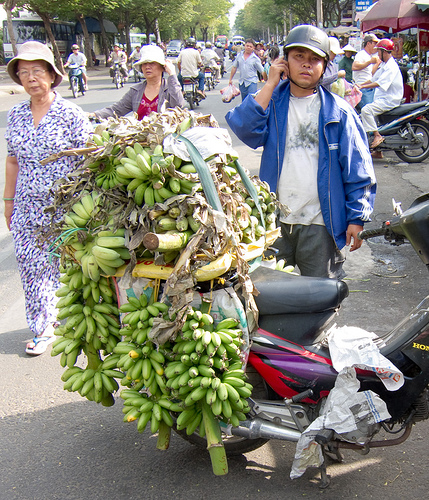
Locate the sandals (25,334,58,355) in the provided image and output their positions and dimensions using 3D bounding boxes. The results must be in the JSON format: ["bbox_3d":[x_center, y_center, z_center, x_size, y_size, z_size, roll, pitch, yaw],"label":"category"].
[{"bbox_3d":[-1.338,0.727,3.450,0.118,0.092,0.274,0,4,15],"label":"sandals"}]

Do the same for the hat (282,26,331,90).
[{"bbox_3d":[0.499,-1.094,2.429,0.215,0.234,0.235,5,18,3],"label":"hat"}]

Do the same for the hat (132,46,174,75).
[{"bbox_3d":[-0.569,-1.783,4.199,0.343,0.271,0.357,-7,25,-7],"label":"hat"}]

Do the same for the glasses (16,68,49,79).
[{"bbox_3d":[-1.252,-1.216,3.057,0.189,0.067,0.111,-7,25,-10],"label":"glasses"}]

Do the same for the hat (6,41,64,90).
[{"bbox_3d":[-1.262,-1.291,3.108,0.292,0.318,0.161,-9,46,-2],"label":"hat"}]
